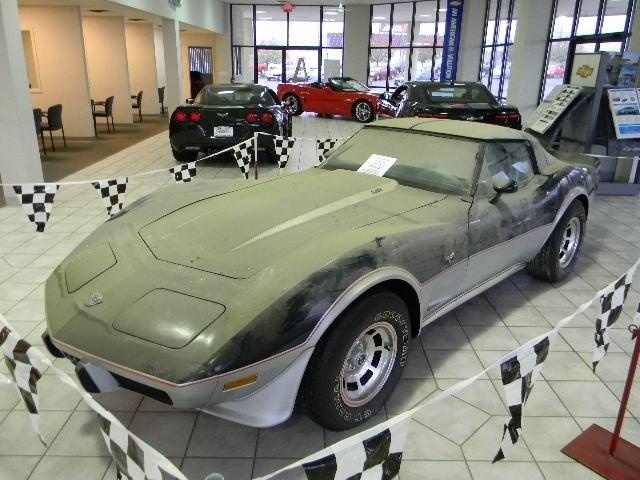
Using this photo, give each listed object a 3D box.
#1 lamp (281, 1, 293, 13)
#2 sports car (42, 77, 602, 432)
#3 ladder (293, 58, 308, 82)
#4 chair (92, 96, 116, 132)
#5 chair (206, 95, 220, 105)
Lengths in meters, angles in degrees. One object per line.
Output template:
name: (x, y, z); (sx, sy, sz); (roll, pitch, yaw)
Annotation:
lamp: (-1.692, -11.809, 20.860); (0.411, 0.562, 1.696); (-3, 22, -5)
sports car: (0.384, -0.141, 3.718); (4.993, 1.691, 2.323); (-19, 27, -38)
ladder: (-1.069, -9.964, 24.280); (1.101, 1.512, 1.136); (-8, 32, -14)
chair: (-7.100, -4.041, 13.190); (0.663, 1.064, 0.638); (21, 22, 40)
chair: (-2.186, -2.842, 8.407); (0.200, 0.158, 0.209); (0, 11, 4)
